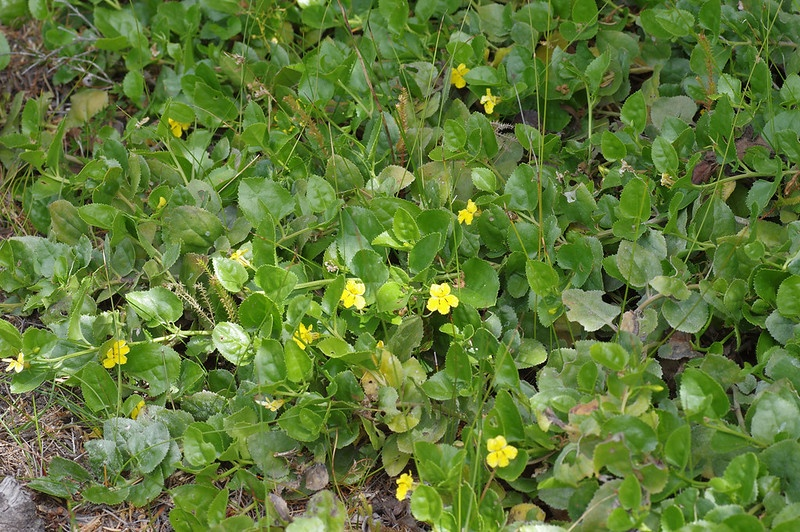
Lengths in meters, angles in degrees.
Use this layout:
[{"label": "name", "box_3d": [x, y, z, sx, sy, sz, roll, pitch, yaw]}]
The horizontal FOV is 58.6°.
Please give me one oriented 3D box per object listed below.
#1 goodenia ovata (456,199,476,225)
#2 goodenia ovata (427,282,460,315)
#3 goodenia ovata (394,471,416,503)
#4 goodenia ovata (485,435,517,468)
[{"label": "goodenia ovata", "box_3d": [0.248, -0.198, 2.668, 0.076, 0.031, 0.088, 11, 88, 26]}, {"label": "goodenia ovata", "box_3d": [0.136, 0.110, 2.459, 0.099, 0.068, 0.104, -33, 79, -5]}, {"label": "goodenia ovata", "box_3d": [0.021, 0.732, 2.346, 0.071, 0.113, 0.034, 12, 33, -11]}, {"label": "goodenia ovata", "box_3d": [0.332, 0.605, 2.320, 0.107, 0.183, 0.106, -3, 77, 2]}]
